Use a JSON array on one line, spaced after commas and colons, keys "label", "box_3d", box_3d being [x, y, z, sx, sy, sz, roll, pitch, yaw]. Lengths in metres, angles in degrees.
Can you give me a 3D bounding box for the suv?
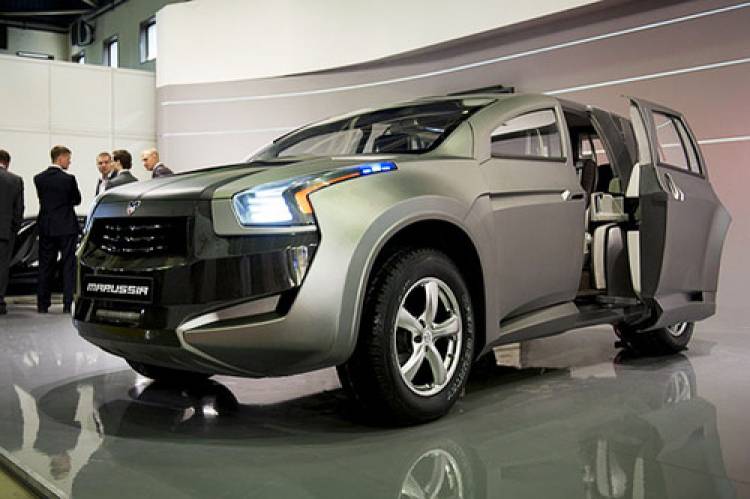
[{"label": "suv", "box_3d": [0.554, 0.009, 3.360, 3.782, 1.437, 2.635, -3, 3, -38]}]
